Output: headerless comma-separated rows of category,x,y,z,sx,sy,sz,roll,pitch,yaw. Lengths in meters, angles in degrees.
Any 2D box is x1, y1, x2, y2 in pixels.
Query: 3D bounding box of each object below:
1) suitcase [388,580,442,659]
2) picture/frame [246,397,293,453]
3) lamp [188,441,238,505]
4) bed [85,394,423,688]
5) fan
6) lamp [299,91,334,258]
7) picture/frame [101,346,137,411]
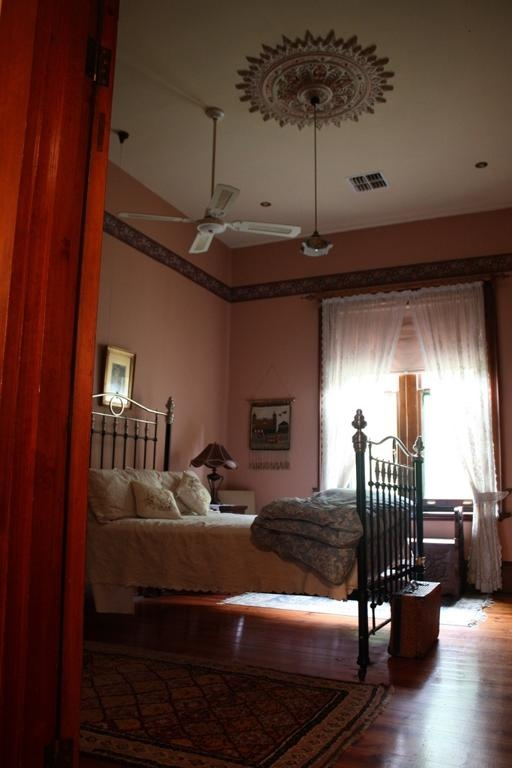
suitcase,0.881,1.268,3.226,0.173,0.333,0.513,-1,-9,28
picture/frame,0.171,0.452,6.500,0.573,0.683,0.049,-3,-10,28
lamp,-0.415,0.883,5.864,0.587,0.659,0.569,0,-11,-4
bed,-0.066,0.713,3.668,1.866,1.247,1.466,0,-3,21
fan,-0.265,-1.317,3.629,1.025,0.824,0.980,1,-6,-1
lamp,0.442,-1.487,4.322,0.203,0.982,0.205,4,25,14
picture/frame,-1.162,-0.055,4.928,0.044,0.597,0.509,-1,-6,20
